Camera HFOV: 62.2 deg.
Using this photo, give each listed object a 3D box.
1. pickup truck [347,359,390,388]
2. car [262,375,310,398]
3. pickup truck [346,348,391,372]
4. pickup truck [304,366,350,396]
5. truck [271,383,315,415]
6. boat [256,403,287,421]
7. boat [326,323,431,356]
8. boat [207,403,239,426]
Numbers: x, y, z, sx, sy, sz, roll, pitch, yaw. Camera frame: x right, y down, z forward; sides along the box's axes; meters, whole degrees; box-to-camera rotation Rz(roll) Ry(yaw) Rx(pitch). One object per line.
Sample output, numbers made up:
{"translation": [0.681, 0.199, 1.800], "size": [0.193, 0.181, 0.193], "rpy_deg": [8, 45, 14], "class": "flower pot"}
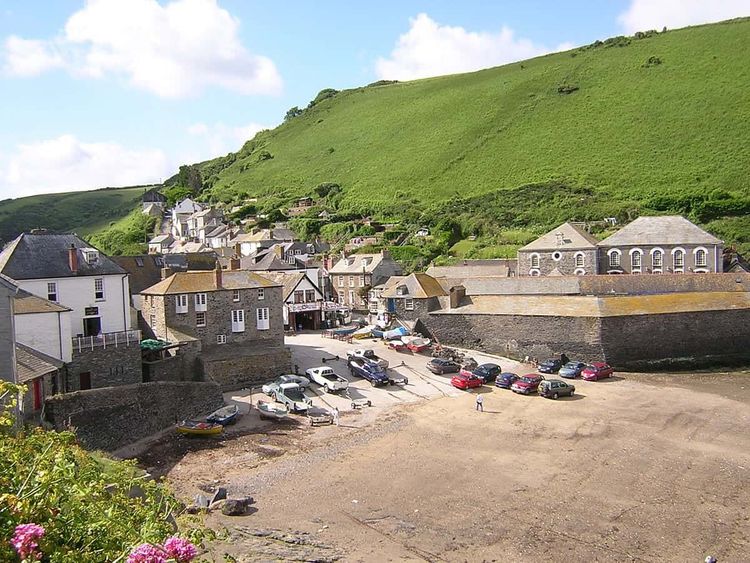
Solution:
{"translation": [-0.312, 6.871, 46.285], "size": [1.459, 0.883, 2.911], "rpy_deg": [-11, 18, -36], "class": "pickup truck"}
{"translation": [-6.350, 7.396, 43.646], "size": [2.806, 0.820, 1.317], "rpy_deg": [1, 0, -42], "class": "car"}
{"translation": [-0.712, 6.187, 48.554], "size": [1.580, 0.877, 2.673], "rpy_deg": [-7, 13, -43], "class": "pickup truck"}
{"translation": [-3.362, 7.113, 44.531], "size": [1.400, 0.897, 2.982], "rpy_deg": [-5, 17, -37], "class": "pickup truck"}
{"translation": [-5.376, 7.614, 40.921], "size": [1.497, 0.888, 2.670], "rpy_deg": [-8, 21, -38], "class": "truck"}
{"translation": [-6.549, 8.206, 39.195], "size": [1.511, 0.426, 0.976], "rpy_deg": [7, 6, 19], "class": "boat"}
{"translation": [0.813, 5.870, 57.264], "size": [9.349, 1.723, 3.302], "rpy_deg": [8, 18, 36], "class": "boat"}
{"translation": [-9.257, 8.325, 38.539], "size": [1.007, 0.441, 1.535], "rpy_deg": [2, 4, 25], "class": "boat"}
